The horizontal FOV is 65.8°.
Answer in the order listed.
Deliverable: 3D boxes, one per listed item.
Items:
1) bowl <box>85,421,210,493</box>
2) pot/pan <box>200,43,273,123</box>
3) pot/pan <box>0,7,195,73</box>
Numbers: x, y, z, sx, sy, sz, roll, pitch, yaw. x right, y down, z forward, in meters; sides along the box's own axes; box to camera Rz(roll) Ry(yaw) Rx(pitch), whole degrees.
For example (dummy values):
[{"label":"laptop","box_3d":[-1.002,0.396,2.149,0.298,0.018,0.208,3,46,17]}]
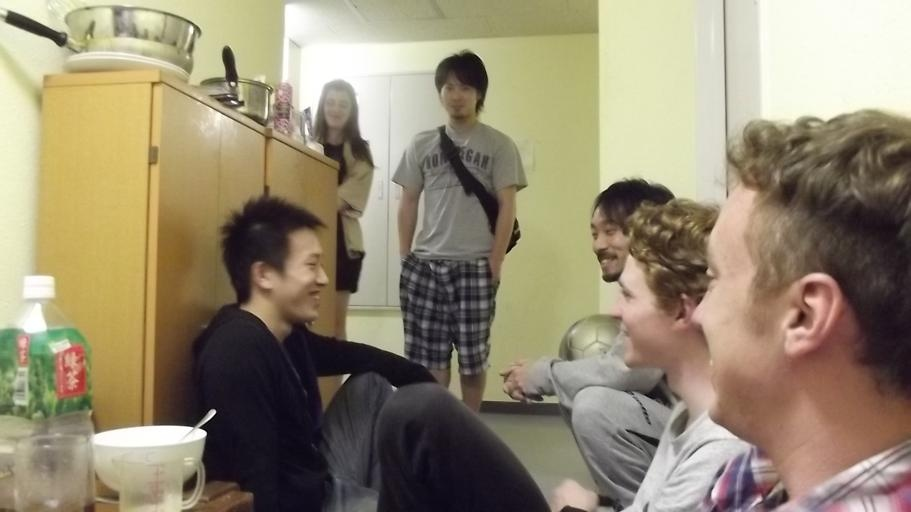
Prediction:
[{"label":"bowl","box_3d":[-0.947,0.583,2.135,0.255,0.113,0.238,-1,-9,0]},{"label":"pot/pan","box_3d":[-0.899,-0.712,2.978,0.249,0.234,0.381,4,5,12]},{"label":"pot/pan","box_3d":[-1.292,-0.775,2.591,0.526,0.137,0.268,1,-7,-19]}]
